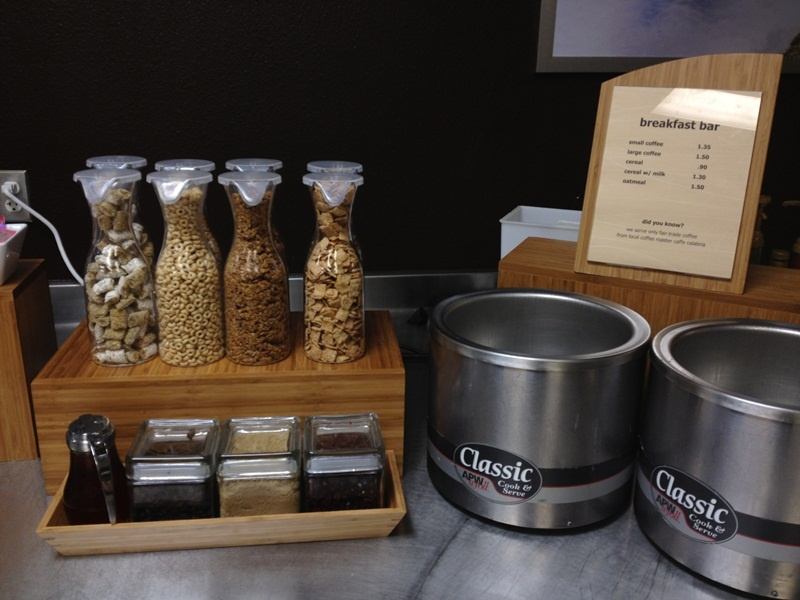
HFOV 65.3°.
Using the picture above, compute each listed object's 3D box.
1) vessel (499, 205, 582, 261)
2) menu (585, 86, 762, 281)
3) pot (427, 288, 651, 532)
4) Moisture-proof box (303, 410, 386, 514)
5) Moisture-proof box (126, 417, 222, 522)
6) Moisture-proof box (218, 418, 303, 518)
[{"bbox_3d":[0.349,-0.190,1.593,0.265,0.084,0.159,5,18,15],"label":"vessel"},{"bbox_3d":[0.449,-0.194,1.014,0.306,0.380,0.028,10,16,22],"label":"menu"},{"bbox_3d":[0.179,0.152,1.054,0.403,0.268,0.387,2,8,0],"label":"pot"},{"bbox_3d":[-0.087,0.250,0.972,0.119,0.107,0.114,-1,21,-5],"label":"Moisture-proof box"},{"bbox_3d":[-0.340,0.259,0.953,0.126,0.120,0.110,-2,21,-6],"label":"Moisture-proof box"},{"bbox_3d":[-0.214,0.254,0.962,0.125,0.111,0.112,-2,21,-8],"label":"Moisture-proof box"}]
